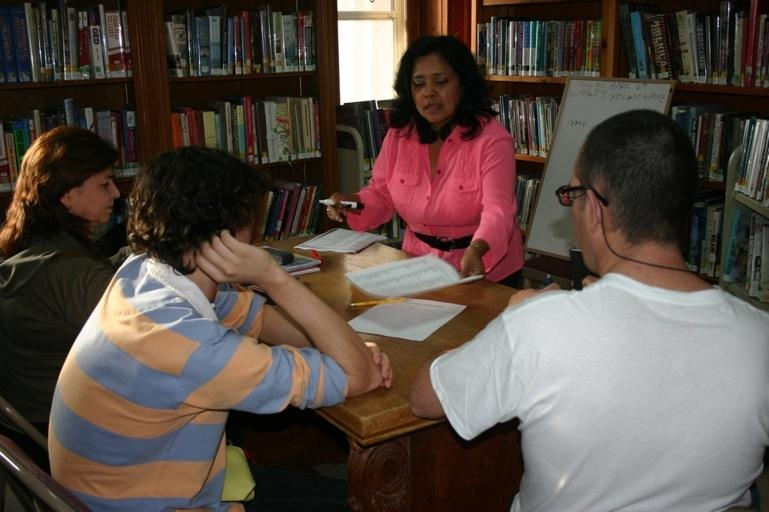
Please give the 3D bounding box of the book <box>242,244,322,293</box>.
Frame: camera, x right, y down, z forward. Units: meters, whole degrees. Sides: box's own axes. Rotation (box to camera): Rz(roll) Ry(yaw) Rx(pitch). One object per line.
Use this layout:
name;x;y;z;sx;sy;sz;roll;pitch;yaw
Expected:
book;-0.372;0.036;2.404;0.193;0.049;0.201;13;21;32

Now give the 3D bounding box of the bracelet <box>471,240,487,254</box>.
bracelet;0.383;-0.029;2.301;0.044;0.038;0.062;2;2;8
